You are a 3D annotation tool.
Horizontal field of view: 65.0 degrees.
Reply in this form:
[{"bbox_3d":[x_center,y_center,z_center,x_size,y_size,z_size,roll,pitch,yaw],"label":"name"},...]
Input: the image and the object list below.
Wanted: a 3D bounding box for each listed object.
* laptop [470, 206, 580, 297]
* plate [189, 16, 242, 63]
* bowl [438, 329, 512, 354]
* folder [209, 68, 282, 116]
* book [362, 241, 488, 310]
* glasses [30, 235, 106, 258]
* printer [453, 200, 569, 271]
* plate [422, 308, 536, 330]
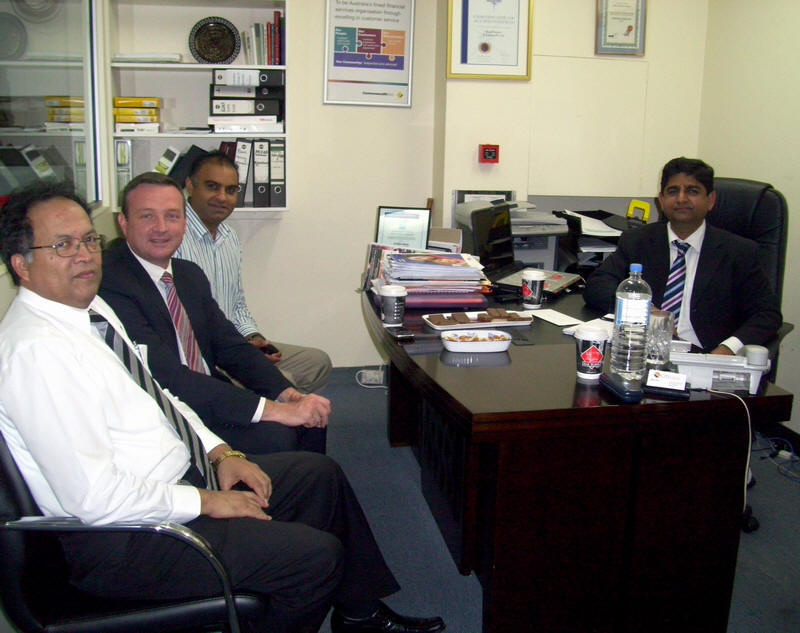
[{"bbox_3d":[0.605,-0.355,3.117,0.481,0.429,0.594,9,18,35],"label":"laptop"},{"bbox_3d":[-1.052,-1.560,3.567,0.287,0.269,0.145,-3,12,-16],"label":"plate"},{"bbox_3d":[0.250,0.079,2.070,0.156,0.032,0.100,1,13,-1],"label":"bowl"},{"bbox_3d":[-0.868,-1.278,3.585,0.382,0.246,0.279,-3,17,-12],"label":"folder"},{"bbox_3d":[0.117,-0.161,2.519,0.349,0.118,0.355,0,17,-10],"label":"book"},{"bbox_3d":[-0.852,-0.182,1.611,0.171,0.055,0.074,-10,16,-41],"label":"glasses"},{"bbox_3d":[0.600,-0.484,3.460,0.391,0.458,0.466,-6,15,-17],"label":"printer"},{"bbox_3d":[0.297,0.013,2.291,0.263,0.028,0.150,-3,15,-9],"label":"plate"}]
